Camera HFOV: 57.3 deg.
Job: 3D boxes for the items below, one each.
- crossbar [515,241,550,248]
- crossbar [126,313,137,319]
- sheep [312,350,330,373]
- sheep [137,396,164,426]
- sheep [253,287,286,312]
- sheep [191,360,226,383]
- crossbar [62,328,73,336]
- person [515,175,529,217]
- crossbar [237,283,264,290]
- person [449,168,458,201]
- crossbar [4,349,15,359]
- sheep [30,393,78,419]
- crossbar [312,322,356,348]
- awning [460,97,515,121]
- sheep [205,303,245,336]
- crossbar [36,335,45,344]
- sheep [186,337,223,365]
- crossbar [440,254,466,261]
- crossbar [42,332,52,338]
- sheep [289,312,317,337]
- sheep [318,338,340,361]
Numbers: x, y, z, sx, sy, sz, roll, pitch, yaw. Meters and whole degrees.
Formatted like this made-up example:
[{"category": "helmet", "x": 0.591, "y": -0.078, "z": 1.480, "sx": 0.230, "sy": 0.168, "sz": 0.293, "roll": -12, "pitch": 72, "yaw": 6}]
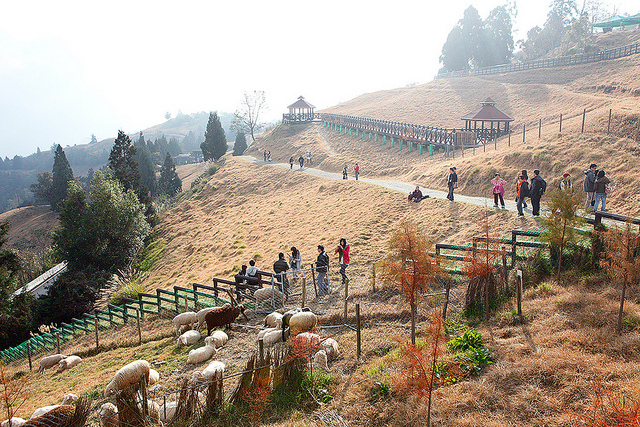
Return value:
[{"category": "crossbar", "x": 11.940, "y": 1.709, "z": 32.810, "sx": 1.604, "sy": 0.293, "sz": 0.416, "roll": 8, "pitch": -5, "yaw": 22}, {"category": "crossbar", "x": -12.071, "y": 6.582, "z": 37.556, "sx": 0.468, "sy": 0.117, "sz": 0.475, "roll": 13, "pitch": -2, "yaw": 34}, {"category": "sheep", "x": 0.001, "y": 7.466, "z": 29.464, "sx": 0.740, "sy": 1.064, "sz": 0.348, "roll": -1, "pitch": -16, "yaw": 3}, {"category": "sheep", "x": -7.916, "y": 9.060, "z": 27.174, "sx": 0.899, "sy": 1.466, "sz": 1.124, "roll": -14, "pitch": 15, "yaw": -20}, {"category": "sheep", "x": -2.838, "y": 4.798, "z": 34.418, "sx": 2.586, "sy": 1.677, "sz": 0.725, "roll": -1, "pitch": -3, "yaw": -9}, {"category": "sheep", "x": -5.527, "y": 7.863, "z": 28.985, "sx": 1.789, "sy": 0.817, "sz": 1.037, "roll": -14, "pitch": 15, "yaw": -18}, {"category": "crossbar", "x": -17.417, "y": 8.144, "z": 40.413, "sx": 0.232, "sy": 0.329, "sz": 1.582, "roll": 16, "pitch": -7, "yaw": -36}, {"category": "person", "x": 13.083, "y": -1.178, "z": 37.792, "sx": 0.687, "sy": 2.543, "sz": 0.667, "roll": -4, "pitch": 14, "yaw": 17}, {"category": "crossbar", "x": -4.136, "y": 4.355, "z": 34.910, "sx": 2.217, "sy": 0.401, "sz": 0.582, "roll": 4, "pitch": 1, "yaw": -15}, {"category": "person", "x": 9.651, "y": -2.184, "z": 42.538, "sx": 0.558, "sy": 2.487, "sz": 1.489, "roll": -5, "pitch": 14, "yaw": 13}, {"category": "crossbar", "x": -21.995, "y": 9.989, "z": 41.640, "sx": 0.116, "sy": 0.149, "sz": 1.079, "roll": -33, "pitch": 52, "yaw": -32}, {"category": "sheep", "x": -13.108, "y": 9.543, "z": 28.981, "sx": 1.174, "sy": 0.791, "sz": 1.707, "roll": -46, "pitch": -16, "yaw": 33}, {"category": "crossbar", "x": 0.754, "y": 6.442, "z": 30.847, "sx": 2.406, "sy": 0.171, "sz": 0.186, "roll": -32, "pitch": 13, "yaw": -34}, {"category": "awning", "x": 16.880, "y": -10.071, "z": 59.252, "sx": 3.606, "sy": 1.744, "sz": 3.724, "roll": -2, "pitch": 10, "yaw": -4}, {"category": "sheep", "x": -5.261, "y": 5.788, "z": 32.584, "sx": 2.423, "sy": 1.748, "sz": 0.958, "roll": -7, "pitch": 10, "yaw": -24}, {"category": "crossbar", "x": -19.693, "y": 8.868, "z": 41.227, "sx": 0.603, "sy": 0.160, "sz": 0.099, "roll": 18, "pitch": 43, "yaw": 35}, {"category": "sheep", "x": -6.196, "y": 7.237, "z": 30.596, "sx": 0.732, "sy": 0.860, "sz": 2.107, "roll": 0, "pitch": 22, "yaw": 42}, {"category": "crossbar", "x": 7.552, "y": 2.475, "z": 33.120, "sx": 1.519, "sy": 0.310, "sz": 0.399, "roll": 1, "pitch": -13, "yaw": 11}, {"category": "crossbar", "x": -19.193, "y": 8.487, "z": 41.179, "sx": 0.277, "sy": 0.306, "sz": 1.442, "roll": -20, "pitch": 18, "yaw": -39}, {"category": "sheep", "x": -0.896, "y": 5.823, "z": 31.000, "sx": 1.707, "sy": 1.155, "sz": 0.713, "roll": -16, "pitch": 21, "yaw": -31}, {"category": "sheep", "x": 0.484, "y": 6.930, "z": 30.164, "sx": 1.072, "sy": 0.848, "sz": 0.621, "roll": 15, "pitch": 35, "yaw": -14}]
